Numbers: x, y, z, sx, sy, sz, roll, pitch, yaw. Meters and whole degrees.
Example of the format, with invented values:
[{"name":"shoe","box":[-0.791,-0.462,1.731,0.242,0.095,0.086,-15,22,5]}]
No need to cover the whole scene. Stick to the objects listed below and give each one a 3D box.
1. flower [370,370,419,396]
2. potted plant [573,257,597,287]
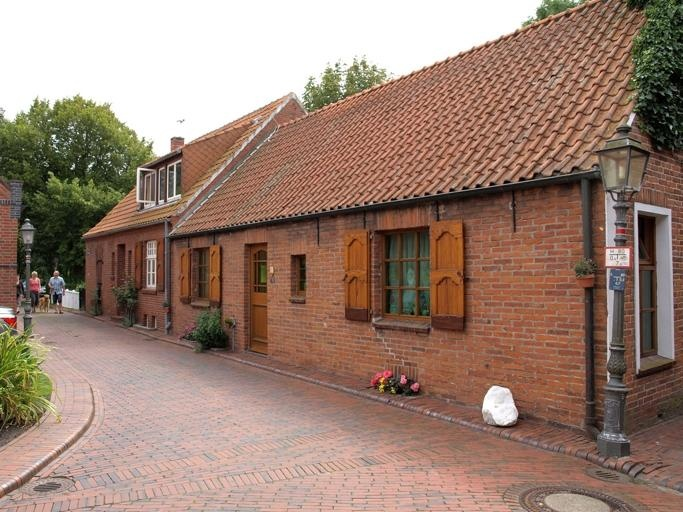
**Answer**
[{"name":"flower","box":[0.966,2.369,11.715,0.471,0.343,1.000,-5,7,-40]},{"name":"potted plant","box":[3.599,0.230,9.225,0.387,0.466,0.416,-1,3,2]}]
